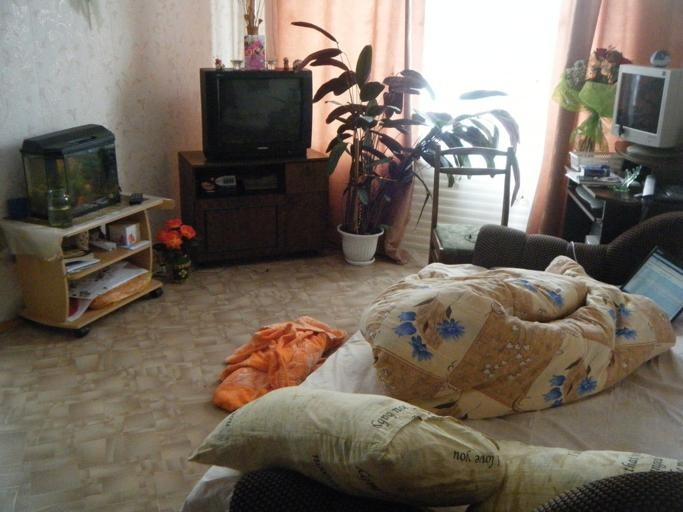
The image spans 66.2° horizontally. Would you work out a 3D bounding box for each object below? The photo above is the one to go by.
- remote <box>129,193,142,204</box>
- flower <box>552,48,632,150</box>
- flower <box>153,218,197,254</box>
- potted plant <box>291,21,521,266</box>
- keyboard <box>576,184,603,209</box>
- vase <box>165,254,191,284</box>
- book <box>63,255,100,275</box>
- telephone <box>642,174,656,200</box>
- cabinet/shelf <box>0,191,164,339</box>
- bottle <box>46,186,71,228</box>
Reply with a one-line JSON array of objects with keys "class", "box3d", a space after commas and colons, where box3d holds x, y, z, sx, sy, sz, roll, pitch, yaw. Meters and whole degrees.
[{"class": "remote", "box3d": [-1.303, -0.367, 3.326, 0.063, 0.026, 0.114, 0, 24, -6]}, {"class": "flower", "box3d": [1.715, -1.102, 3.581, 0.498, 0.632, 0.550, -5, 1, -28]}, {"class": "flower", "box3d": [-1.143, -0.151, 3.595, 0.239, 0.148, 0.243, 8, 17, 37]}, {"class": "potted plant", "box3d": [0.717, -1.099, 4.173, 1.803, 1.423, 1.485, -21, 34, -38]}, {"class": "keyboard", "box3d": [1.506, -0.361, 3.171, 0.080, 0.015, 0.191, -18, 22, 12]}, {"class": "vase", "box3d": [-1.103, 0.082, 3.710, 0.195, 0.215, 0.202, 1, 10, 0]}, {"class": "book", "box3d": [-1.495, 0.041, 2.995, 0.112, 0.037, 0.110, -20, 31, -40]}, {"class": "telephone", "box3d": [1.685, -0.381, 2.866, 0.065, 0.073, 0.277, 2, 36, 32]}, {"class": "cabinet/shelf", "box3d": [-1.544, 0.022, 3.229, 0.522, 0.633, 0.767, 13, 25, 26]}, {"class": "bottle", "box3d": [-1.562, -0.267, 2.884, 0.122, 0.202, 0.098, -9, 25, -24]}]
